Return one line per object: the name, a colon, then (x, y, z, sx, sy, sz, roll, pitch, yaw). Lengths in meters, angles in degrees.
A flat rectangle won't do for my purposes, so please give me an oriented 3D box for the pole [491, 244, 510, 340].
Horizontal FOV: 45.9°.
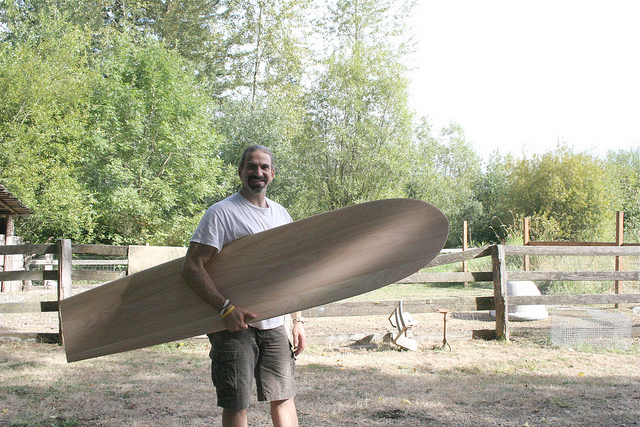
pole: (5.202, 2.438, 22.761, 0.542, 2.747, 0.328, -1, -3, -38)
